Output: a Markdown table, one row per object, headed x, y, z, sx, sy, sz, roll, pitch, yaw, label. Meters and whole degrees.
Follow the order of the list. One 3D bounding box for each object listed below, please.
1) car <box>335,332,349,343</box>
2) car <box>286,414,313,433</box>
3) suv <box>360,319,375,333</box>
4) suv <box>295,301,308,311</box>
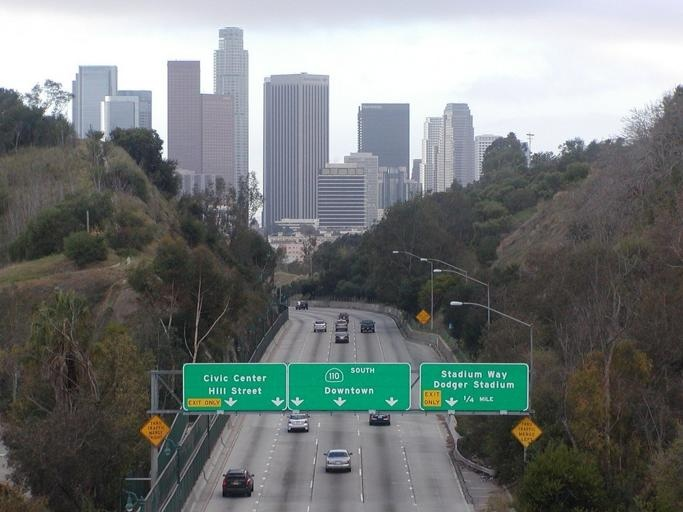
| x | y | z | sx | sy | sz | roll | pitch | yaw | label |
| --- | --- | --- | --- | --- | --- | --- | --- | --- | --- |
| -0.008 | 9.845 | 161.910 | 1.596 | 1.136 | 1.345 | 1 | 11 | -3 | car |
| -4.058 | 15.420 | 126.426 | 2.055 | 1.626 | 1.557 | 1 | 11 | -5 | car |
| 3.255 | 9.200 | 172.934 | 1.793 | 1.382 | 2.161 | 1 | 11 | -2 | suv |
| -6.547 | 8.246 | 219.800 | 1.115 | 1.376 | 2.291 | 1 | 2 | -5 | suv |
